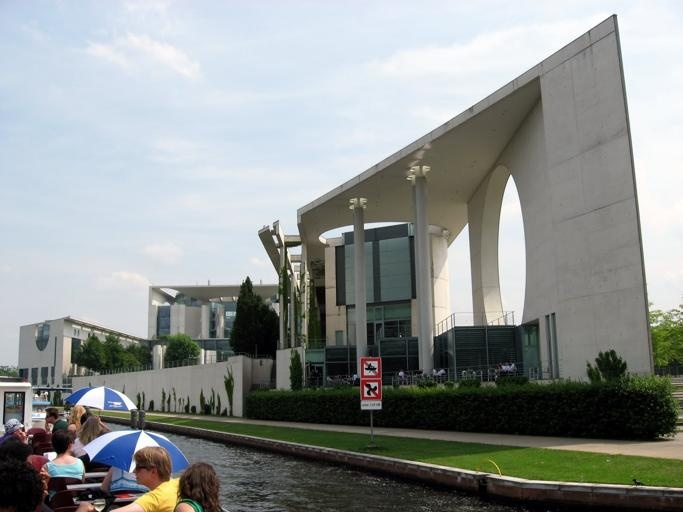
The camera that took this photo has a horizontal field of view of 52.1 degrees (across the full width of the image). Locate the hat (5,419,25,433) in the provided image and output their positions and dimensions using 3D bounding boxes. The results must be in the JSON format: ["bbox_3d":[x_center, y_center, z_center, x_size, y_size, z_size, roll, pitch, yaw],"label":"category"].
[{"bbox_3d":[-7.422,3.887,15.682,0.281,0.273,0.441,-2,1,6],"label":"hat"}]
